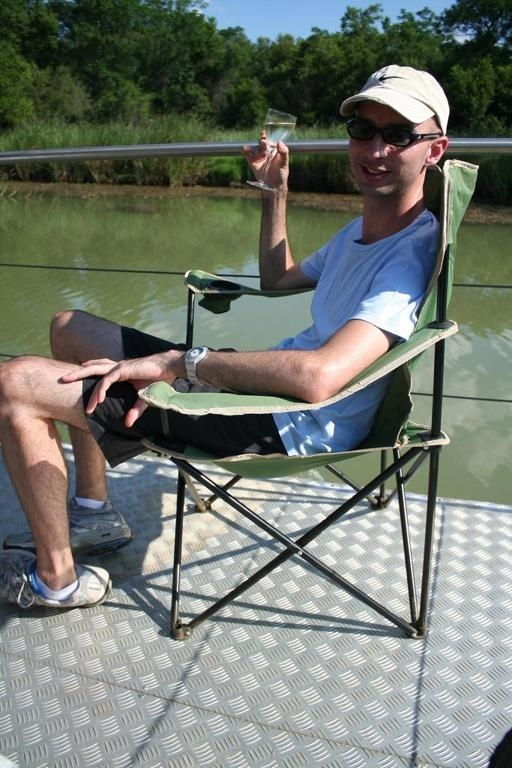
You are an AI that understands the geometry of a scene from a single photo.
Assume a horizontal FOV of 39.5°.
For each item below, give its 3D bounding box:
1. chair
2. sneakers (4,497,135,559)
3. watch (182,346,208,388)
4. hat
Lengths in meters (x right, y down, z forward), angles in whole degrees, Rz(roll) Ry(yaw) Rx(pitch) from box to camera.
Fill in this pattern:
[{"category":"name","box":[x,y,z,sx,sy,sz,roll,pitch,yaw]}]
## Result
[{"category":"chair","box":[0.069,0.001,1.710,0.814,0.959,0.822,-8,20,-9]},{"category":"sneakers","box":[-0.481,0.366,1.817,0.366,0.142,0.125,1,-17,-28]},{"category":"watch","box":[-0.126,-0.043,1.492,0.055,0.069,0.076,-2,22,10]},{"category":"hat","box":[0.293,-0.620,1.572,0.189,0.107,0.239,12,-1,17]}]
